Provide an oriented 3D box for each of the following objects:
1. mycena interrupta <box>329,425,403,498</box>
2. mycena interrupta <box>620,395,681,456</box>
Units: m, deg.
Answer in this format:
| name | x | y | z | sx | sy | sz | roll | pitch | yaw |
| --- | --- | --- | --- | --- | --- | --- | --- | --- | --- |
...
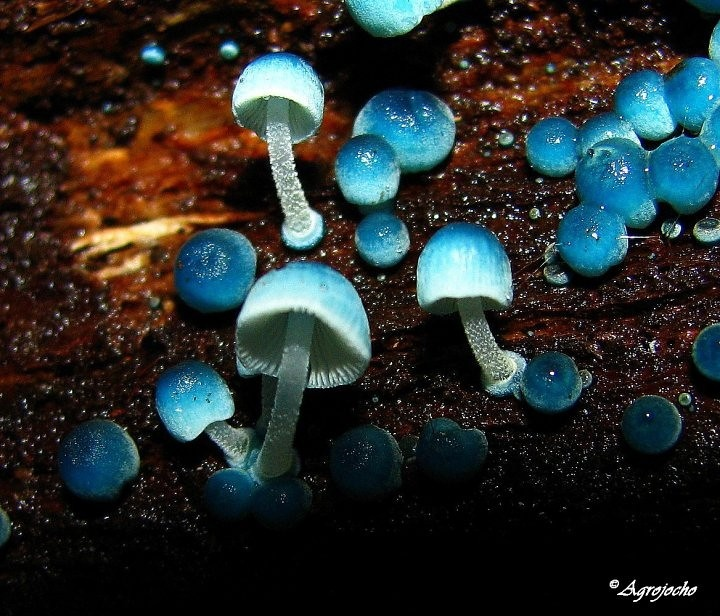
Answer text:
| name | x | y | z | sx | sy | sz | roll | pitch | yaw |
| --- | --- | --- | --- | --- | --- | --- | --- | --- | --- |
| mycena interrupta | 0.039 | 0.953 | 5.891 | 0.428 | 0.218 | 0.427 | -2 | 70 | 0 |
| mycena interrupta | 1.801 | 0.724 | 5.858 | 0.362 | 0.196 | 0.342 | 11 | 96 | 9 |
